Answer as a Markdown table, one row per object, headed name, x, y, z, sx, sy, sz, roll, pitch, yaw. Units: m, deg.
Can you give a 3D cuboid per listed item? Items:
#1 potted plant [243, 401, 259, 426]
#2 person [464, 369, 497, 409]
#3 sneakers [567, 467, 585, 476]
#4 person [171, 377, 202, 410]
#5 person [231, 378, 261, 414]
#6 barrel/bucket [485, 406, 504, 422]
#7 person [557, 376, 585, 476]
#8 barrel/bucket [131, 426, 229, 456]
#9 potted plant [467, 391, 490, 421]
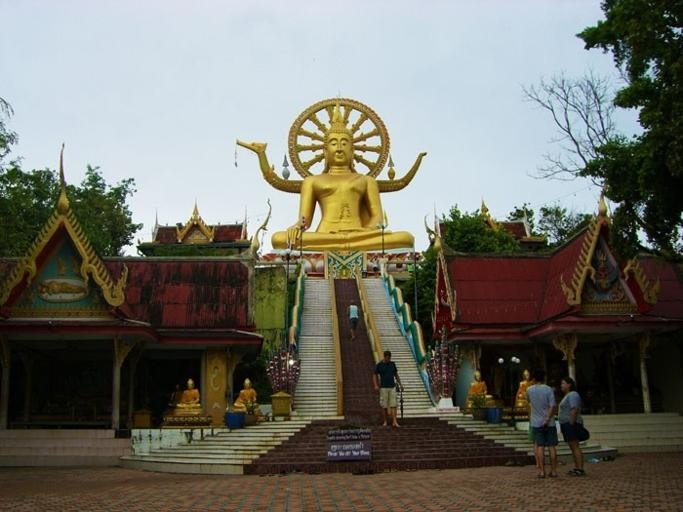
| name | x | y | z | sx | sy | sz | roll | pitch | yaw |
| --- | --- | --- | --- | --- | --- | --- | --- | --- | --- |
| potted plant | -2.117 | 3.779 | 17.742 | 0.305 | 0.648 | 0.459 | 0 | -20 | -7 |
| person | 3.495 | 3.377 | 18.728 | 1.044 | 0.971 | 1.046 | -5 | -7 | 20 |
| sneakers | 3.780 | 3.478 | 11.881 | 0.303 | 0.129 | 0.111 | 2 | -13 | 7 |
| person | -3.918 | 3.616 | 19.058 | 0.602 | 0.889 | 0.522 | -1 | -20 | -4 |
| person | -2.493 | 3.463 | 18.319 | 0.896 | 1.032 | 0.736 | -1 | -11 | 7 |
| barrel/bucket | 3.643 | 3.804 | 17.688 | 0.371 | 0.443 | 0.359 | 1 | -13 | 0 |
| person | 3.800 | 2.782 | 12.179 | 0.396 | 1.646 | 0.980 | -9 | -21 | 17 |
| barrel/bucket | -3.945 | 4.318 | 17.270 | 1.847 | 0.661 | 0.800 | -3 | -20 | 2 |
| potted plant | 3.361 | 3.675 | 18.032 | 0.519 | 0.532 | 0.503 | 3 | -22 | -3 |
